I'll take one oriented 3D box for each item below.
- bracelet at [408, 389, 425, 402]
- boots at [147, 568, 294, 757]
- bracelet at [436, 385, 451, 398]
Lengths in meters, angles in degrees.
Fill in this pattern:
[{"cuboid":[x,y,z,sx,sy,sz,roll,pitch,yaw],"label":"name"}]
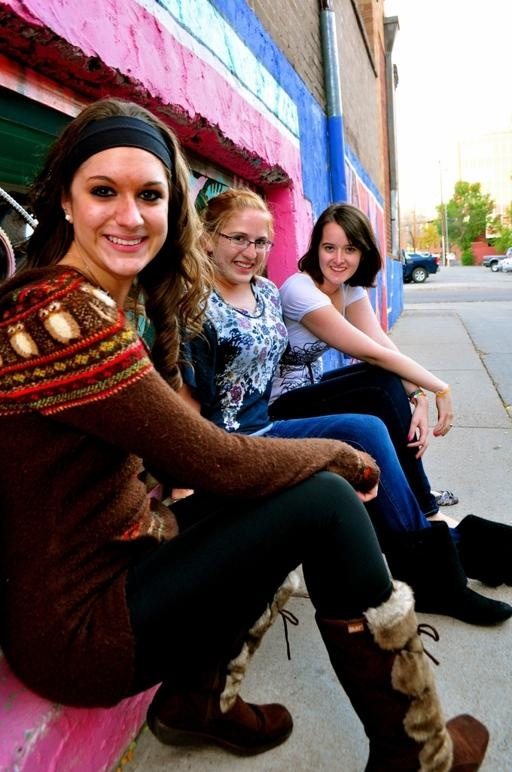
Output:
[{"cuboid":[0.632,0.039,2.178,0.042,0.031,0.057,1,-6,-12],"label":"bracelet"},{"cuboid":[-0.010,0.633,1.258,0.348,0.474,0.141,12,28,-11],"label":"boots"},{"cuboid":[0.747,0.022,2.202,0.038,0.048,0.026,50,17,15],"label":"bracelet"}]
